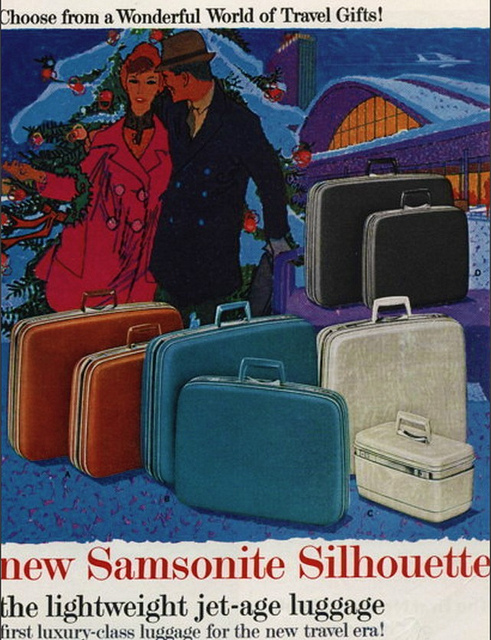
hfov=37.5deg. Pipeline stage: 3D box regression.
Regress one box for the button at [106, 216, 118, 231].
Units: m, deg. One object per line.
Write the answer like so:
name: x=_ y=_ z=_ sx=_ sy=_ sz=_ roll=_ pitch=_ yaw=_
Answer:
button: x=-0.364 y=-0.262 z=1.966 sx=0.039 sy=0.033 sz=0.009 roll=11 pitch=9 yaw=9

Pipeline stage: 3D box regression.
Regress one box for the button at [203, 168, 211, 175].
button: x=-0.105 y=-0.399 z=1.946 sx=0.017 sy=0.015 sz=0.004 roll=3 pitch=7 yaw=-9

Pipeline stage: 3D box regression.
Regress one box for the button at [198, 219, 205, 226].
button: x=-0.121 y=-0.263 z=1.957 sx=0.017 sy=0.015 sz=0.004 roll=2 pitch=9 yaw=-19

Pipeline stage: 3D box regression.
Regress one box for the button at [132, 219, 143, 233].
button: x=-0.294 y=-0.255 z=1.968 sx=0.028 sy=0.030 sz=0.007 roll=3 pitch=9 yaw=3

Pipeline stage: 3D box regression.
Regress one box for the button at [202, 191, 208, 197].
button: x=-0.111 y=-0.339 z=1.953 sx=0.016 sy=0.014 sz=0.003 roll=3 pitch=7 yaw=-13

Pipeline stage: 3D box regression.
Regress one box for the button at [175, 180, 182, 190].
button: x=-0.182 y=-0.364 z=1.954 sx=0.018 sy=0.023 sz=0.006 roll=0 pitch=7 yaw=4
